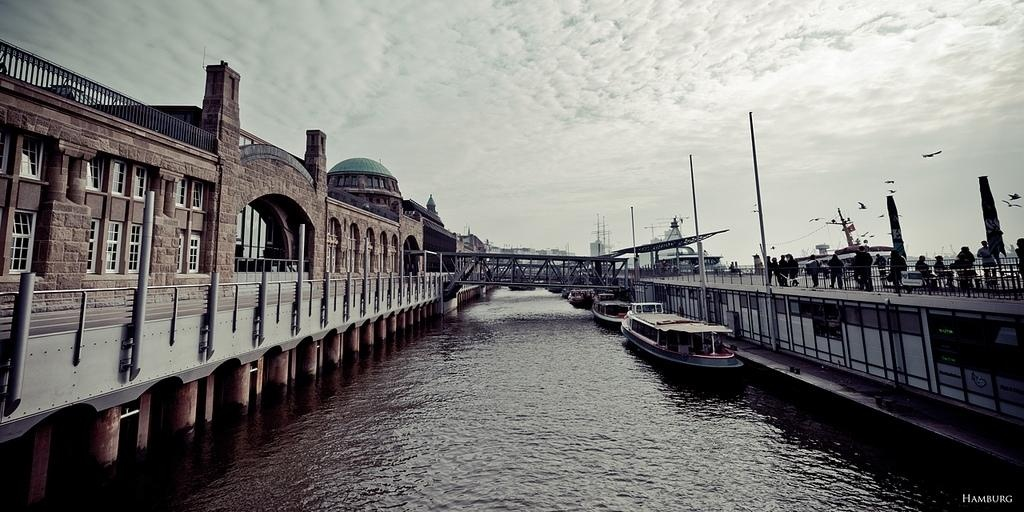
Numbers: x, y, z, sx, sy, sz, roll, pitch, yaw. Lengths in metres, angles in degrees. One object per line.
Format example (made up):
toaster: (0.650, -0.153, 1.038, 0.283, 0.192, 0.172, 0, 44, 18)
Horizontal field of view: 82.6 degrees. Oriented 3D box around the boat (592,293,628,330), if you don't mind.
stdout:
boat: (12.699, 7.433, 75.768, 3.931, 2.962, 12.759, 2, -1, 3)
